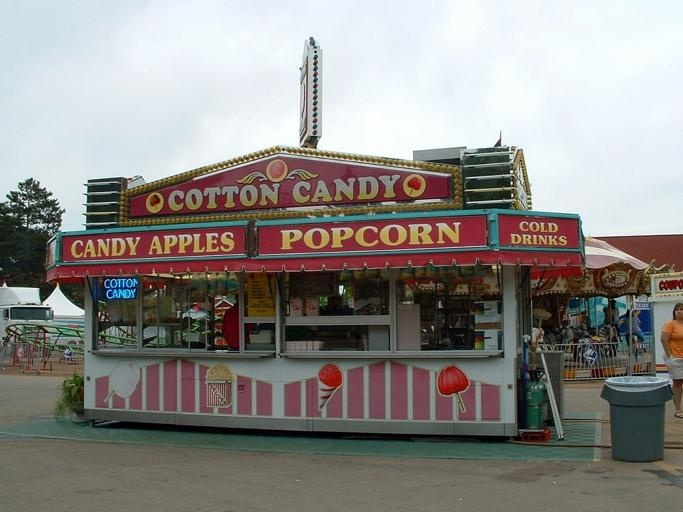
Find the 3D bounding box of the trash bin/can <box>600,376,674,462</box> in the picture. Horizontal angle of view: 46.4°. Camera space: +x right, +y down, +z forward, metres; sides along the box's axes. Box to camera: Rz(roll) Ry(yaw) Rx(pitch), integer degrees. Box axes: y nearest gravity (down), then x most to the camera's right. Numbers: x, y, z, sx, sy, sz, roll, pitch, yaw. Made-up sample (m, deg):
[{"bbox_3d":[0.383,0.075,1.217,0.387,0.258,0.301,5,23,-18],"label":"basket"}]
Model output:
[{"bbox_3d":[4.225,2.318,11.456,1.064,1.131,1.012,-1,-5,18],"label":"trash bin/can"}]
